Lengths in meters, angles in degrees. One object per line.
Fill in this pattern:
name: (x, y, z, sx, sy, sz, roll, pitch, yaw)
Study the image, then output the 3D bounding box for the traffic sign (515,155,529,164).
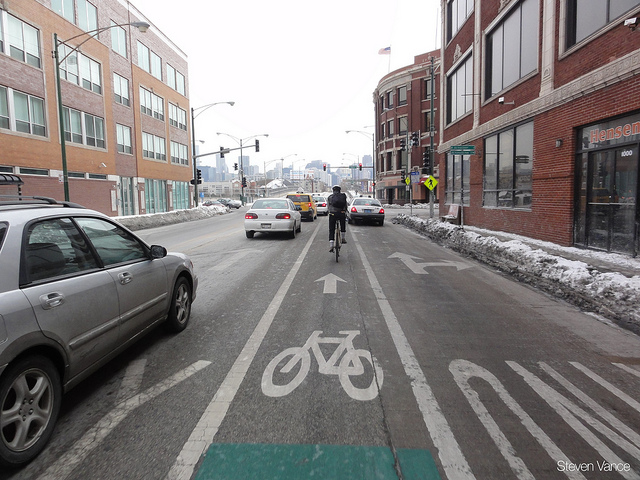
traffic sign: (7.099, -2.800, 16.316, 0.232, 0.229, 0.344, -1, 4, -4)

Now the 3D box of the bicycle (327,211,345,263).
bicycle: (0.496, -0.221, 12.863, 0.698, 1.076, 1.699, -5, 20, 3)

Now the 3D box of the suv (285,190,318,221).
suv: (-1.095, -2.172, 30.135, 1.155, 1.252, 2.290, 0, 12, 8)

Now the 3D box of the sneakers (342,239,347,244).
sneakers: (0.663, 0.060, 13.040, 0.095, 0.200, 0.191, 1, 1, 15)

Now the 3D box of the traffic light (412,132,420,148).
traffic light: (5.676, -6.013, 27.641, 0.349, 0.707, 1.307, 2, 11, 8)

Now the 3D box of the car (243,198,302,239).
car: (-1.946, -0.840, 18.604, 2.029, 1.586, 1.854, -1, 10, -9)

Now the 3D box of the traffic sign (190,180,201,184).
traffic sign: (-11.519, -5.344, 42.969, 0.565, 0.277, 0.652, 3, 6, 20)

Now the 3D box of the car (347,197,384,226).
car: (2.580, -1.492, 25.982, 1.669, 1.523, 2.285, -4, 11, -22)

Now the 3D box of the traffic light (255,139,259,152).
traffic light: (-6.156, -9.132, 45.209, 0.257, 1.079, 0.763, 1, 10, 3)

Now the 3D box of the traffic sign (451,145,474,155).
traffic sign: (6.380, -4.021, 20.847, 0.948, 0.368, 1.859, 3, 11, 16)

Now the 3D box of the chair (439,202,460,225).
chair: (6.753, -1.337, 24.142, 0.518, 0.969, 1.318, -1, 4, -5)
